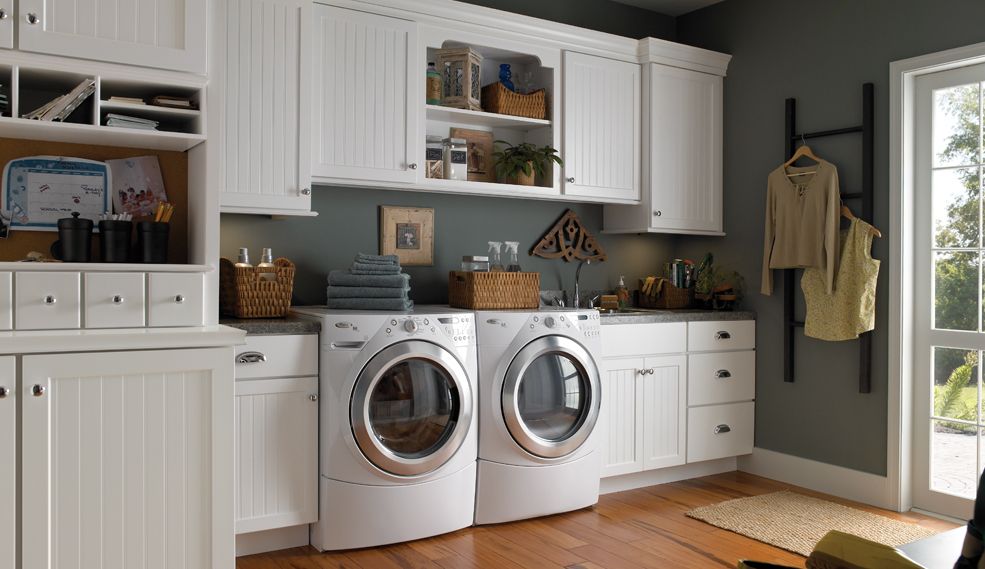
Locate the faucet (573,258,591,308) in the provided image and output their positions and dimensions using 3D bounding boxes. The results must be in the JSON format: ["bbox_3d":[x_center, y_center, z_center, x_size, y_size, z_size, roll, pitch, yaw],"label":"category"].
[{"bbox_3d":[0.680,-0.016,5.499,0.123,0.370,0.304,-1,3,22],"label":"faucet"}]

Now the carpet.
[{"bbox_3d":[2.043,1.537,4.572,1.278,0.092,0.839,-2,2,-25],"label":"carpet"}]

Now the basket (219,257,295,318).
[{"bbox_3d":[-1.446,0.030,4.339,0.374,0.291,0.448,3,-6,-35],"label":"basket"}]

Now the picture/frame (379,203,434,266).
[{"bbox_3d":[-0.623,-0.356,4.948,0.514,0.451,0.048,2,-4,-25],"label":"picture/frame"}]

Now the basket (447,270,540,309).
[{"bbox_3d":[0.006,0.030,4.758,0.464,0.192,0.309,0,2,-22],"label":"basket"}]

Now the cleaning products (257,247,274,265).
[{"bbox_3d":[-1.431,-0.175,4.476,0.143,0.134,0.134,0,1,-12],"label":"cleaning products"}]

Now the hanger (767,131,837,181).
[{"bbox_3d":[2.295,-0.941,5.153,0.018,0.243,0.463,-10,8,-33],"label":"hanger"}]

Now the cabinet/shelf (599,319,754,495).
[{"bbox_3d":[1.199,0.837,5.320,1.640,1.196,0.575,1,-3,-32],"label":"cabinet/shelf"}]

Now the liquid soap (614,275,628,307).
[{"bbox_3d":[1.048,0.055,5.674,0.106,0.244,0.175,-1,3,11],"label":"liquid soap"}]

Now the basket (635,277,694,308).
[{"bbox_3d":[1.378,0.067,5.651,0.451,0.240,0.198,-1,3,12],"label":"basket"}]

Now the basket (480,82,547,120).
[{"bbox_3d":[0.187,-1.299,5.028,0.447,0.220,0.299,0,3,-29],"label":"basket"}]
